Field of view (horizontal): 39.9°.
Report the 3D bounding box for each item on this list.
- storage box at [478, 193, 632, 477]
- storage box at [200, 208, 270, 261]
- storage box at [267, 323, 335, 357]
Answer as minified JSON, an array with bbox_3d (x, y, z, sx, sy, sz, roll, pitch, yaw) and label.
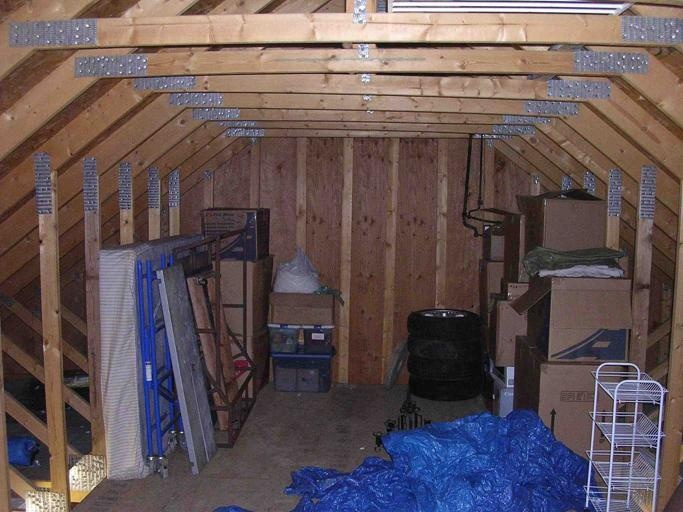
[{"bbox_3d":[1.691,0.635,7.317,1.224,2.569,2.052,0,5,2],"label":"storage box"},{"bbox_3d":[-1.029,-0.268,8.985,0.741,0.516,0.468,1,8,3],"label":"storage box"},{"bbox_3d":[-0.406,0.811,9.236,0.481,0.208,0.332,1,2,1],"label":"storage box"}]
